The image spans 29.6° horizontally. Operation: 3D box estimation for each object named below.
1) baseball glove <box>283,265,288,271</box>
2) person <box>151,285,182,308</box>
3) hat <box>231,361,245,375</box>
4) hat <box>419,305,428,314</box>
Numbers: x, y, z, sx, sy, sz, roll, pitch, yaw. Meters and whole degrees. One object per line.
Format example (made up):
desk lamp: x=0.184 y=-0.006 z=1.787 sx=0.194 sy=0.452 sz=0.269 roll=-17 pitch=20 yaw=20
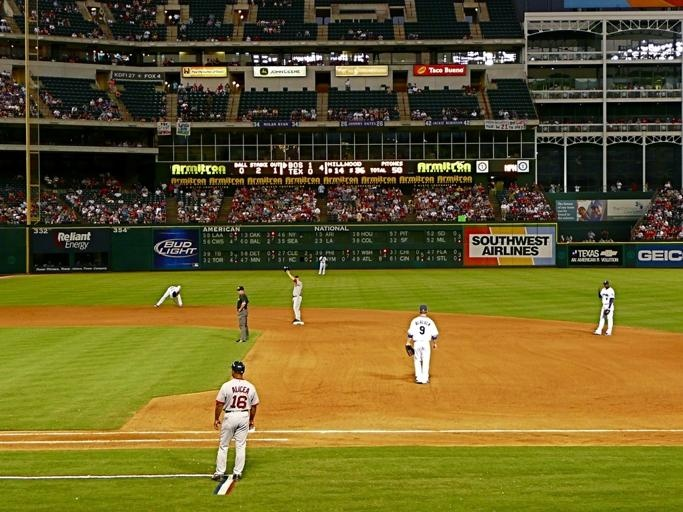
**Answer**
baseball glove: x=-4.264 y=0.875 z=98.403 sx=0.371 sy=0.496 sz=0.240 roll=6 pitch=-9 yaw=12
person: x=-12.352 y=2.746 z=92.794 sx=1.219 sy=0.614 sz=2.027 roll=2 pitch=-17 yaw=-37
hat: x=-5.745 y=6.030 z=71.891 sx=0.642 sy=0.728 sz=0.786 roll=1 pitch=9 yaw=-8
hat: x=4.882 y=3.113 z=77.323 sx=0.414 sy=0.481 sz=0.520 roll=-1 pitch=-5 yaw=8
